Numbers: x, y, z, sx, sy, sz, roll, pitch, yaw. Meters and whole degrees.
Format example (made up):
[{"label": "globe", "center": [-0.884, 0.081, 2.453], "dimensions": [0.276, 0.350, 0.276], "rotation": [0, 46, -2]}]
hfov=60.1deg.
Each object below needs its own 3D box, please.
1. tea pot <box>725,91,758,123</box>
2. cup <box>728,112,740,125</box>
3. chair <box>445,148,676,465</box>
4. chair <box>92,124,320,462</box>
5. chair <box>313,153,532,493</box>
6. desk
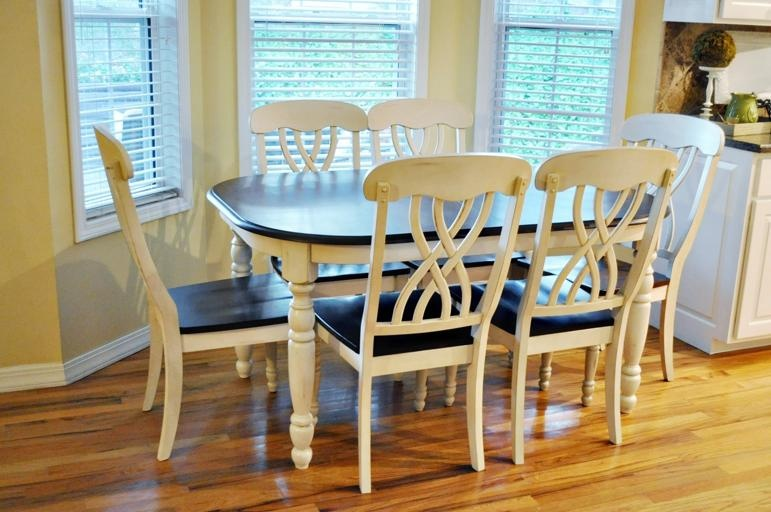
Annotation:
[{"label": "tea pot", "center": [2.080, -0.897, 4.008], "dimensions": [0.199, 0.185, 0.180], "rotation": [-2, 17, 1]}, {"label": "cup", "center": [2.059, -0.808, 3.953], "dimensions": [0.051, 0.036, 0.038], "rotation": [-15, 29, -22]}, {"label": "chair", "center": [0.761, 0.199, 3.281], "dimensions": [0.898, 1.464, 0.981], "rotation": [-10, 16, -36]}, {"label": "chair", "center": [-0.812, 0.163, 3.151], "dimensions": [0.961, 1.334, 0.779], "rotation": [-3, 13, -28]}, {"label": "chair", "center": [0.143, 0.235, 2.913], "dimensions": [0.905, 1.420, 0.556], "rotation": [-5, 21, -14]}, {"label": "desk", "center": [0.435, 0.498, 3.309], "dimensions": [2.203, 0.963, 1.325], "rotation": [0, -12, -9]}]
